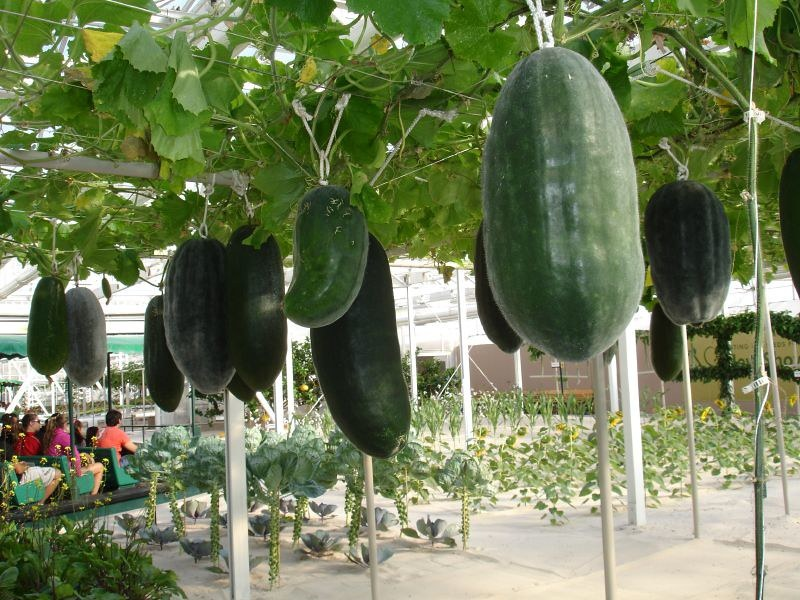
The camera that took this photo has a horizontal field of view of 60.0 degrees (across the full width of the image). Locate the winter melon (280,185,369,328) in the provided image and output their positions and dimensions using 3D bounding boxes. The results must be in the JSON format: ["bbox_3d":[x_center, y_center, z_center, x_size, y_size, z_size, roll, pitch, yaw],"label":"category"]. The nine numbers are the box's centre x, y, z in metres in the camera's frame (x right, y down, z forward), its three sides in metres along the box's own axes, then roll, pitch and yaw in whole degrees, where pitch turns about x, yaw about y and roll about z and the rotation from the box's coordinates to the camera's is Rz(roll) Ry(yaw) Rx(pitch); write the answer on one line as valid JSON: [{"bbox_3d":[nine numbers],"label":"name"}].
[{"bbox_3d":[-0.184,-0.122,1.731,0.204,0.374,0.178,-3,-4,-3],"label":"winter melon"}]

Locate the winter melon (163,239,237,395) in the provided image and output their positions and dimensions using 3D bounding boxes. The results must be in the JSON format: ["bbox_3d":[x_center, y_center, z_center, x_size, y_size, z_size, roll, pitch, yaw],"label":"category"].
[{"bbox_3d":[-0.621,0.043,2.129,0.194,0.499,0.247,-2,-4,-19],"label":"winter melon"}]

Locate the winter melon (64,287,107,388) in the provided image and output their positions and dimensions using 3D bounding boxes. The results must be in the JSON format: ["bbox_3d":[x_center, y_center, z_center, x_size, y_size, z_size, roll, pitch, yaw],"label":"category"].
[{"bbox_3d":[-1.337,0.165,3.012,0.213,0.446,0.206,-10,-8,42],"label":"winter melon"}]

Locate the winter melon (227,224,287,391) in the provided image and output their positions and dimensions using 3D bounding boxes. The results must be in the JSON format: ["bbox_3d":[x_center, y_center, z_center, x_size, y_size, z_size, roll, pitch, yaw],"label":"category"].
[{"bbox_3d":[-0.420,0.016,2.023,0.161,0.497,0.159,-2,-3,-13],"label":"winter melon"}]

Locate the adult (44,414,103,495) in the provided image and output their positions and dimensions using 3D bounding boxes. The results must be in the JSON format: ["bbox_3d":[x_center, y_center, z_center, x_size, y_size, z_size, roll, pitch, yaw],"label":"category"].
[{"bbox_3d":[-4.545,2.285,9.688,0.552,1.343,0.777,-9,-8,41],"label":"adult"}]

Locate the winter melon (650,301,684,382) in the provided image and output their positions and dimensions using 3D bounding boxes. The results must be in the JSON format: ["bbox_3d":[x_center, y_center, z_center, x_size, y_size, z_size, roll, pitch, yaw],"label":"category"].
[{"bbox_3d":[1.134,0.203,2.972,0.160,0.363,0.162,-5,-12,23],"label":"winter melon"}]

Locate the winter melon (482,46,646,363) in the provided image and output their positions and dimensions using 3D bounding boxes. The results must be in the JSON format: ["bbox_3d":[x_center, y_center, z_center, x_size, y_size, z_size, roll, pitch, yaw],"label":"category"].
[{"bbox_3d":[0.295,-0.176,1.502,0.300,0.618,0.319,-4,-6,2],"label":"winter melon"}]

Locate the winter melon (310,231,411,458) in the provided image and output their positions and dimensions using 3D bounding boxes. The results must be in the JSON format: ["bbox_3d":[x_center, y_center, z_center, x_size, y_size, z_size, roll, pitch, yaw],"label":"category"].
[{"bbox_3d":[-0.100,0.124,1.783,0.229,0.520,0.186,-15,-9,-16],"label":"winter melon"}]

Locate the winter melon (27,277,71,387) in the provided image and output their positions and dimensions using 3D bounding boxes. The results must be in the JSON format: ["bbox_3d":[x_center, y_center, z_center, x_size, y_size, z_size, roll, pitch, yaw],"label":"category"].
[{"bbox_3d":[-1.415,0.121,2.867,0.168,0.385,0.163,0,-4,21],"label":"winter melon"}]

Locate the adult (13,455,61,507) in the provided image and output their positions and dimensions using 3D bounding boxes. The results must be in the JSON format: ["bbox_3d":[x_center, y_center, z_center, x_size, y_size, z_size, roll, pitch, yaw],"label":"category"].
[{"bbox_3d":[-4.492,2.249,8.584,0.441,0.554,0.676,-6,-5,36],"label":"adult"}]

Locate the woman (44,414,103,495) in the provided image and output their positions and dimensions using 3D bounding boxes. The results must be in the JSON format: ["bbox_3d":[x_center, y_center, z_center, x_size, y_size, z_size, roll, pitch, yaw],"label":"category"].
[{"bbox_3d":[-4.547,2.289,9.686,0.544,1.347,0.790,-9,-7,43],"label":"woman"}]

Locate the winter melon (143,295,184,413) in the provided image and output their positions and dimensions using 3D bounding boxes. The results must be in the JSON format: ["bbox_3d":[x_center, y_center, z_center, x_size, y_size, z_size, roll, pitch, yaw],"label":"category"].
[{"bbox_3d":[-0.825,0.219,2.469,0.151,0.465,0.162,-21,-24,33],"label":"winter melon"}]

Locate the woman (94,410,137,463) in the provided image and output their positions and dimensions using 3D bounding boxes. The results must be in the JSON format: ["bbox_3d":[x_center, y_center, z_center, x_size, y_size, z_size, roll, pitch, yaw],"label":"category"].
[{"bbox_3d":[-4.191,2.025,10.177,0.648,0.798,0.508,3,5,13],"label":"woman"}]

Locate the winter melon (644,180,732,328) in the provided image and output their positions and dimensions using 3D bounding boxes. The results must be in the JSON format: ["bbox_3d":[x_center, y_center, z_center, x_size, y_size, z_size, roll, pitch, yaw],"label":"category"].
[{"bbox_3d":[0.910,-0.156,2.193,0.270,0.480,0.261,-6,-13,18],"label":"winter melon"}]

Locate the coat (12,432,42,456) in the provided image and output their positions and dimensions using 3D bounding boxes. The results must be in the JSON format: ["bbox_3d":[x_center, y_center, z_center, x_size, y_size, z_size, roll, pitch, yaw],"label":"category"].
[{"bbox_3d":[-5.197,2.025,9.611,0.177,0.321,0.321,-14,-6,25],"label":"coat"}]

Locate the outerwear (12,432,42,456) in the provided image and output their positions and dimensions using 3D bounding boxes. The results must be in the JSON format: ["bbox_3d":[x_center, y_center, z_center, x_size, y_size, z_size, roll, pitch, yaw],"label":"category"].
[{"bbox_3d":[-5.197,2.025,9.611,0.177,0.321,0.321,-14,-6,25],"label":"outerwear"}]
